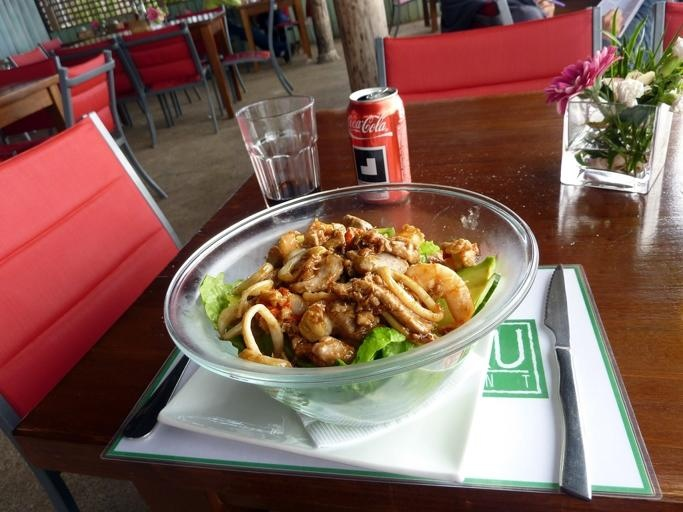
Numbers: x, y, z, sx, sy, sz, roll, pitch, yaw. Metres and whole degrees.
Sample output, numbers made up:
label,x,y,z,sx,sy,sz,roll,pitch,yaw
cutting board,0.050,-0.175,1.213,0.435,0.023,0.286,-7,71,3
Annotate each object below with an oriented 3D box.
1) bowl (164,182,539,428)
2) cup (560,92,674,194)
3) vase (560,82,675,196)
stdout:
label,x,y,z,sx,sy,sz,roll,pitch,yaw
bowl,0.047,0.062,0.577,0.354,0.138,0.354,-24,27,13
cup,0.518,-0.195,0.851,0.206,0.145,0.205,4,19,-1
vase,0.433,-0.180,0.839,0.180,0.171,0.178,7,48,16
